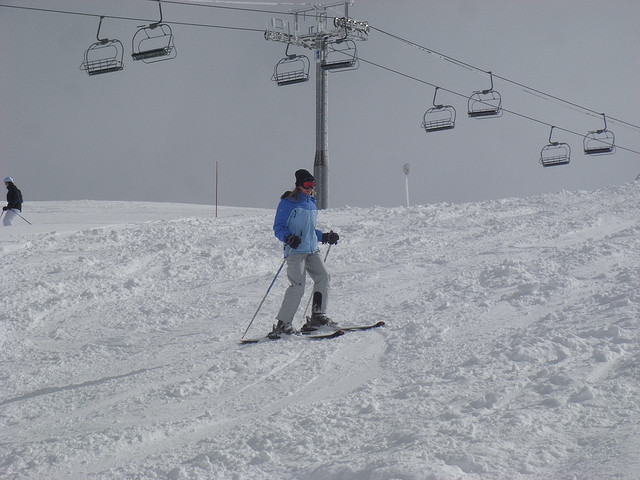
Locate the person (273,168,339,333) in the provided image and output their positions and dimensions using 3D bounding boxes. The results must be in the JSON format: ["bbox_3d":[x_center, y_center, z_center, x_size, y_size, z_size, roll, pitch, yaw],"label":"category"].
[{"bbox_3d":[-0.257,0.196,11.242,0.868,2.524,0.967,-5,11,15],"label":"person"}]

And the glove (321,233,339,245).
[{"bbox_3d":[0.152,-0.023,11.811,0.199,0.227,0.095,4,13,8],"label":"glove"}]

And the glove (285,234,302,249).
[{"bbox_3d":[-0.396,0.041,10.883,0.233,0.237,0.281,-8,10,-2],"label":"glove"}]

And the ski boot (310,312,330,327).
[{"bbox_3d":[0.045,1.246,11.461,0.404,0.246,0.126,-2,7,-7],"label":"ski boot"}]

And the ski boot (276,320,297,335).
[{"bbox_3d":[-0.527,1.324,11.180,0.346,0.290,0.148,-3,13,-12],"label":"ski boot"}]
